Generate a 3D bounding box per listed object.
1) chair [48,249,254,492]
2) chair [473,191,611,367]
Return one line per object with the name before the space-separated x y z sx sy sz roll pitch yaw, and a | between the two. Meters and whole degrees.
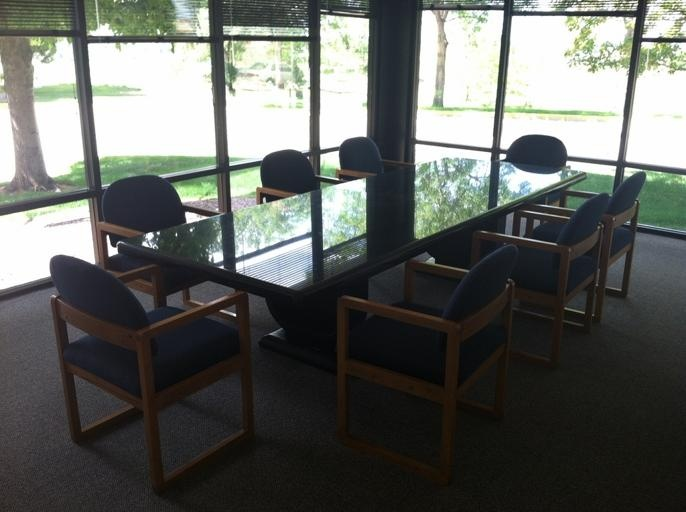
chair | -0.957 0.617 2.742 0.703 1.130 0.744 16 26 33
chair | 1.296 0.165 3.522 0.699 1.129 0.784 15 26 37
